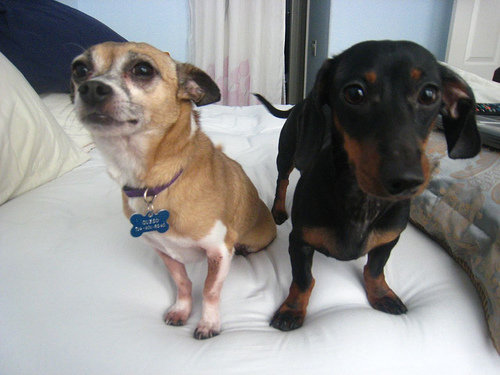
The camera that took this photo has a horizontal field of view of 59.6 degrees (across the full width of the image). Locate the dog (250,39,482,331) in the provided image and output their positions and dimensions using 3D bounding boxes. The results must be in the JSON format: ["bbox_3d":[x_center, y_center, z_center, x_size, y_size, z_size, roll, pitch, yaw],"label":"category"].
[{"bbox_3d":[0.414,-0.294,2.338,0.652,1.146,1.938,0,26,-4],"label":"dog"}]

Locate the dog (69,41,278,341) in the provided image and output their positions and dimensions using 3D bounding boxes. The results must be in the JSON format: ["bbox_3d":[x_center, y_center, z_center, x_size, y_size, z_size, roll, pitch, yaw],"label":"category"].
[{"bbox_3d":[-0.411,-0.072,2.249,0.896,1.168,0.887,14,36,22],"label":"dog"}]
